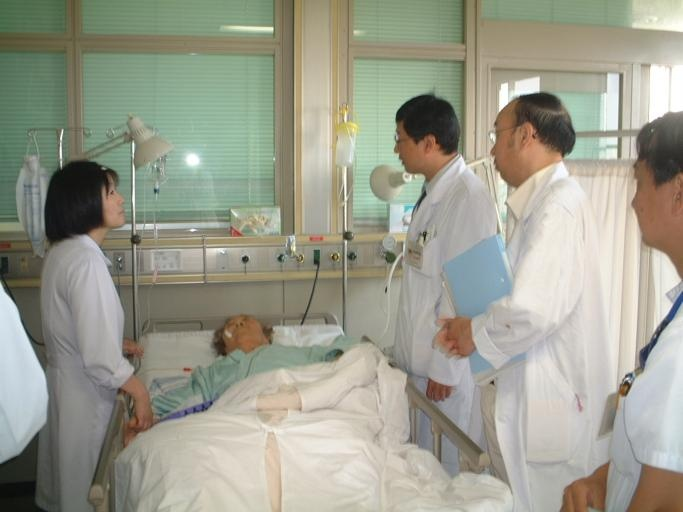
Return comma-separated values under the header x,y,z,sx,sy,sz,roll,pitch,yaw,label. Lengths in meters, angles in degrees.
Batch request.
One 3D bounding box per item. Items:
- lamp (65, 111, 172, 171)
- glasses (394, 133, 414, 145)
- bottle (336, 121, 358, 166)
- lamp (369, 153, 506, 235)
x,y,z,sx,sy,sz,roll,pitch,yaw,label
-1.140,-0.598,3.026,0.519,0.282,0.199,9,26,13,lamp
0.280,-0.527,2.673,0.084,0.029,0.086,1,12,-1,glasses
0.030,-0.652,3.471,0.118,0.257,0.145,-1,7,2,bottle
0.456,-0.308,2.957,0.573,0.210,0.375,17,-26,-2,lamp
